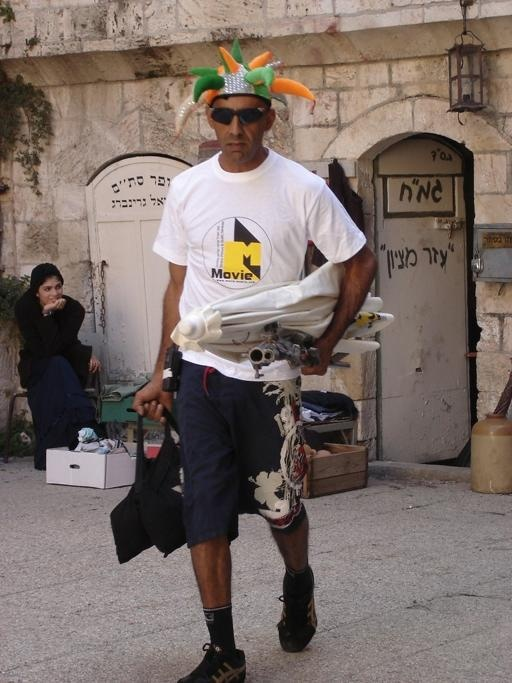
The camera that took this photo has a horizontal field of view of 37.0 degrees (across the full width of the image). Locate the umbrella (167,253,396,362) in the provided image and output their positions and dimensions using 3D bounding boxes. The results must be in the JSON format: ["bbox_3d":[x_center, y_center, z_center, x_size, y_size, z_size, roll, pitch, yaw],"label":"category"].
[{"bbox_3d":[0.061,-0.102,2.349,0.822,0.280,0.256,-4,8,-29],"label":"umbrella"}]

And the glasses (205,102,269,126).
[{"bbox_3d":[-0.051,-0.669,2.284,0.171,0.078,0.096,-2,-1,-2],"label":"glasses"}]

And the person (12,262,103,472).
[{"bbox_3d":[-1.713,0.186,6.747,0.619,1.818,0.816,-1,-2,-29],"label":"person"}]

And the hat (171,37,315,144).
[{"bbox_3d":[-0.047,-0.821,2.410,0.438,0.215,0.420,-12,15,-16],"label":"hat"}]

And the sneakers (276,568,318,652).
[{"bbox_3d":[0.151,0.888,2.607,0.127,0.286,0.126,4,9,13],"label":"sneakers"}]
